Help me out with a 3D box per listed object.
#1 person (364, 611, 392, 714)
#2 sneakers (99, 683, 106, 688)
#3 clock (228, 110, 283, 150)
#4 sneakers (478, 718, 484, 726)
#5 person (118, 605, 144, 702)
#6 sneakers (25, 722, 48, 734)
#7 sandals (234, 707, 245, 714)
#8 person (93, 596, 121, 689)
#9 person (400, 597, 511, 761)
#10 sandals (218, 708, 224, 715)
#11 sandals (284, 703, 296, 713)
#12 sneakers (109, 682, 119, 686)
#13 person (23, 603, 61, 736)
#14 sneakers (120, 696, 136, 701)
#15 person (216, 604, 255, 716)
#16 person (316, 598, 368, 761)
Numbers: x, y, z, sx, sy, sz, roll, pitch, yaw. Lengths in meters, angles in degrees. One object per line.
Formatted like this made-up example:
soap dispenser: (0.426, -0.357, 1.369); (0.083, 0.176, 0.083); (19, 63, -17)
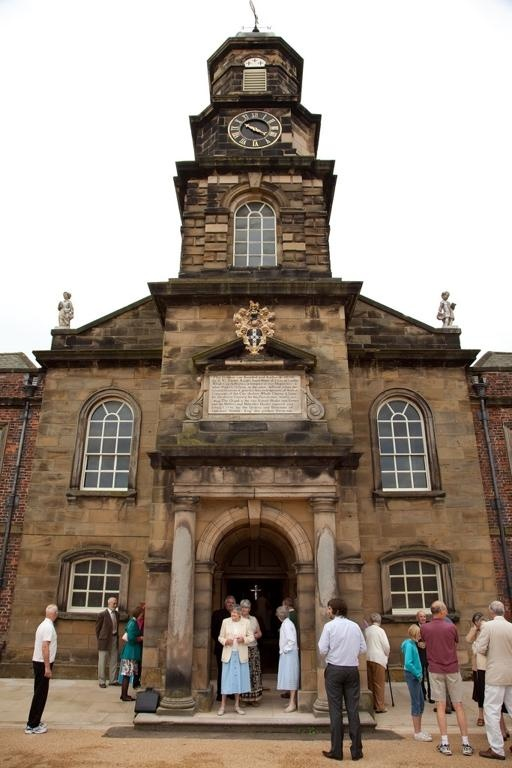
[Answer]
person: (1.976, 4.476, 8.905); (0.366, 1.467, 0.773); (-4, -28, 8)
sneakers: (-2.990, 5.798, 10.596); (0.121, 0.088, 0.180); (8, -28, -15)
clock: (-0.011, -6.524, 14.195); (1.454, 1.425, 0.124); (-1, -33, -2)
sneakers: (3.114, 4.635, 7.568); (0.057, 0.042, 0.161); (-1, -14, 3)
person: (-2.236, 4.747, 9.773); (0.363, 1.515, 0.875); (5, -28, -10)
sneakers: (-2.833, 4.370, 7.008); (0.249, 0.115, 0.155); (11, -29, -21)
sandals: (-0.247, 4.847, 8.204); (0.080, 0.087, 0.217); (5, -16, -20)
person: (-2.949, 5.078, 10.780); (0.503, 1.538, 1.680); (6, -28, -11)
person: (2.420, 3.326, 6.378); (0.848, 1.605, 1.014); (-7, -28, 13)
sandals: (-0.517, 4.778, 8.053); (0.090, 0.097, 0.209); (2, -27, -3)
sandals: (0.520, 4.894, 8.341); (0.154, 0.113, 0.295); (-4, -27, 8)
sneakers: (-2.837, 5.920, 10.876); (0.180, 0.074, 0.072); (-1, -12, 4)
person: (-2.876, 3.742, 7.364); (0.332, 1.561, 1.368); (10, -29, -17)
sneakers: (-2.211, 5.357, 9.365); (0.251, 0.098, 0.127); (2, -10, -5)
person: (-0.314, 4.176, 8.378); (0.496, 1.463, 0.706); (0, -27, 0)
person: (0.975, 3.197, 6.074); (0.488, 1.612, 0.477); (-4, -28, 8)
